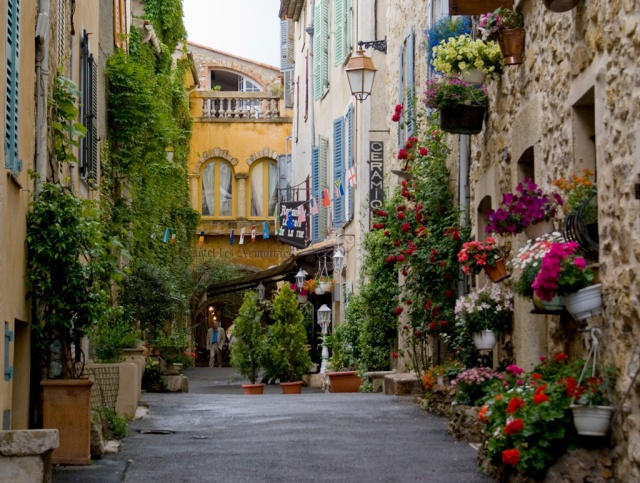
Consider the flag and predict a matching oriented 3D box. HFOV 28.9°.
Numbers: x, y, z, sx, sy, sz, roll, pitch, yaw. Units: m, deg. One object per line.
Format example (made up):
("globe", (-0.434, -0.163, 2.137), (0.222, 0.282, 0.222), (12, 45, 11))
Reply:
("flag", (-1.450, -1.297, 34.897), (4.640, 2.248, 3.009), (2, -6, 0))
